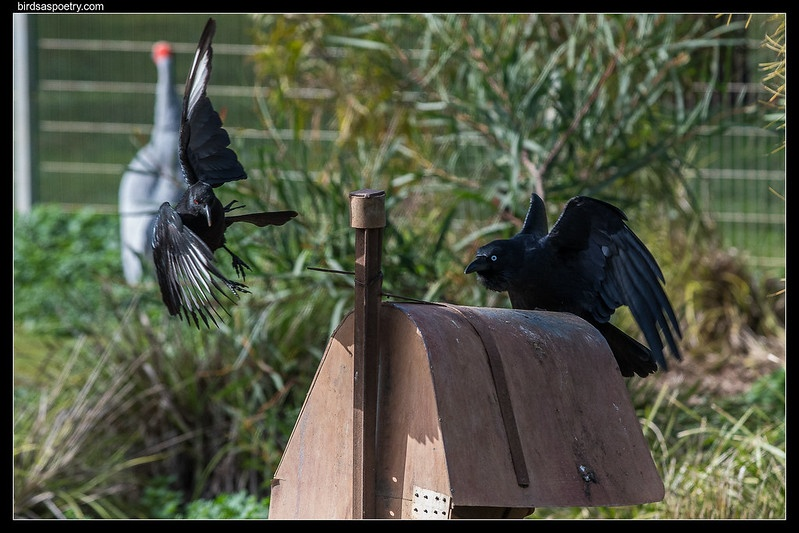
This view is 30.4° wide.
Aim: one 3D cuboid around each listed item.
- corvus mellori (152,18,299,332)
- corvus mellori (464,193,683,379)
[{"bbox_3d":[-1.079,-0.473,8.221,0.666,1.836,0.940,-2,-17,-10],"label":"corvus mellori"},{"bbox_3d":[1.218,0.100,8.720,1.294,0.919,1.235,8,-1,25],"label":"corvus mellori"}]
